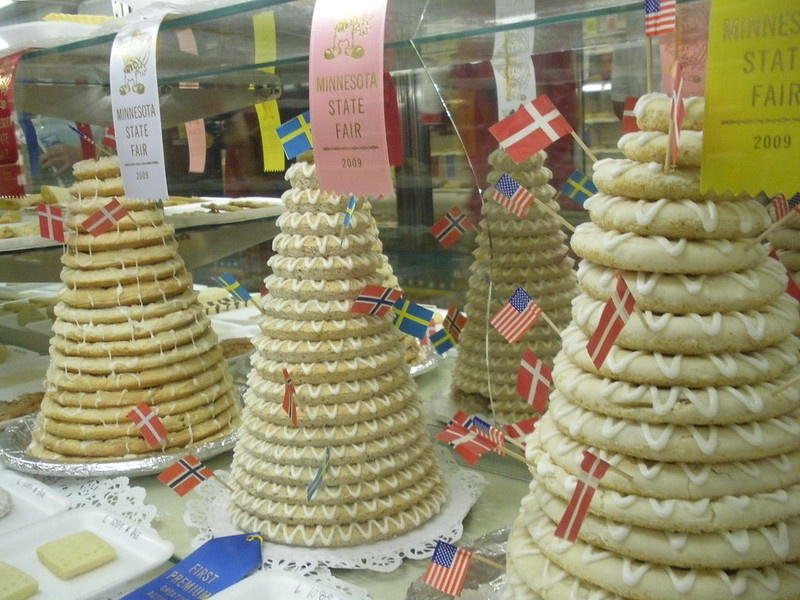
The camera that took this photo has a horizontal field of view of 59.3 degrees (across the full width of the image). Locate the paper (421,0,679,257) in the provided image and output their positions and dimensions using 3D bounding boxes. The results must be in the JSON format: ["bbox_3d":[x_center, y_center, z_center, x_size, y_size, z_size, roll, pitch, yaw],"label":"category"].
[{"bbox_3d":[0.397,-0.425,1.962,1.031,0.437,0.426,0,16,19],"label":"paper"}]
